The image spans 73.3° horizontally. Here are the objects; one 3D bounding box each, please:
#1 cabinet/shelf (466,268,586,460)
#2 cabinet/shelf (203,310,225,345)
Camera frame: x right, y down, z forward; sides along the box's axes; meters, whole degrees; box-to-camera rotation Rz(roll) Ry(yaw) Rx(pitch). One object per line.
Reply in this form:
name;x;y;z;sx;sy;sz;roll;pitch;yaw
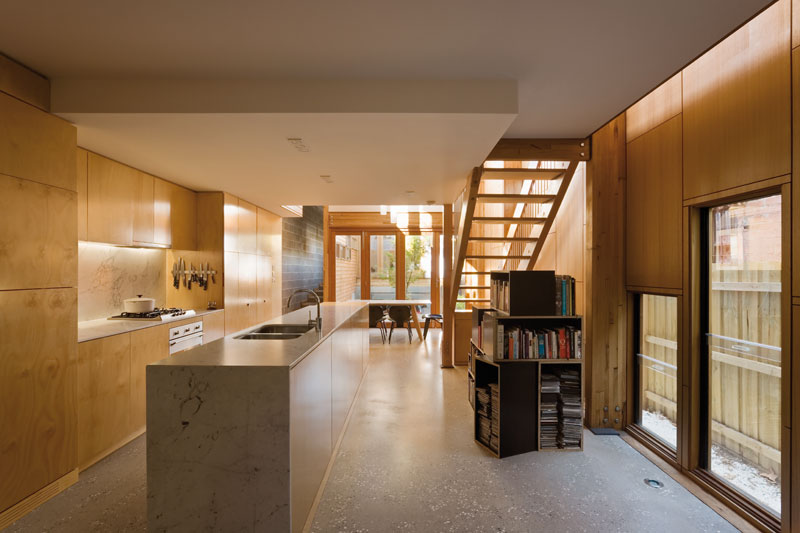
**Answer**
cabinet/shelf;1.708;0.995;7.187;1.564;3.145;2.246;0;-1;2
cabinet/shelf;-2.661;0.842;7.611;0.516;0.465;0.192;-2;-1;15
